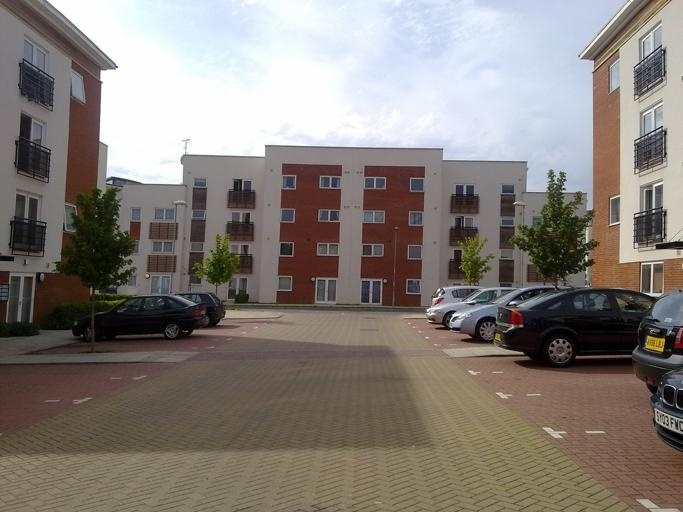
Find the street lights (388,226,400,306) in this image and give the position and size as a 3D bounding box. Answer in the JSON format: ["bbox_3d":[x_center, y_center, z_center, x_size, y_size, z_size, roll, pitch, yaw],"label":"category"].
[{"bbox_3d":[4.288,0.731,45.038,0.471,5.781,0.846,-1,0,31],"label":"street lights"}]

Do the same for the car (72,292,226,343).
[{"bbox_3d":[-6.500,2.123,19.345,4.429,1.241,1.808,1,-4,-2],"label":"car"}]
